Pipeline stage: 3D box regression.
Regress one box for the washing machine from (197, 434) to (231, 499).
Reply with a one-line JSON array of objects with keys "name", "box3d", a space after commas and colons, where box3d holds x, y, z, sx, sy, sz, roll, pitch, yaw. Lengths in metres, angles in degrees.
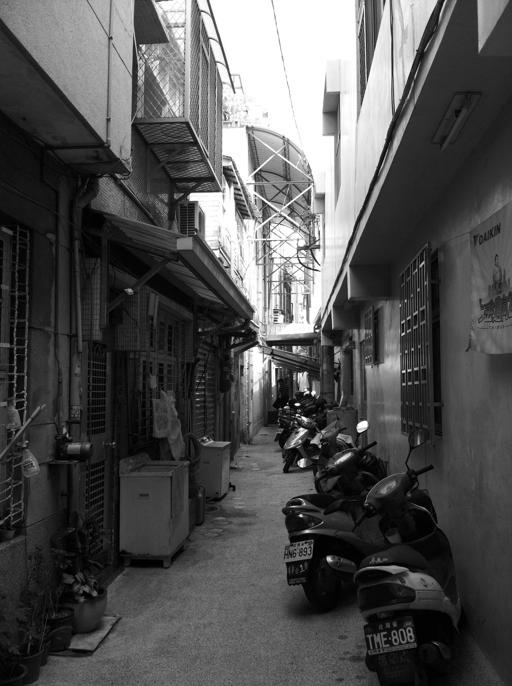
[{"name": "washing machine", "box3d": [-0.569, 1.736, 8.897, 0.420, 0.896, 0.607, 0, -2, 5]}]
